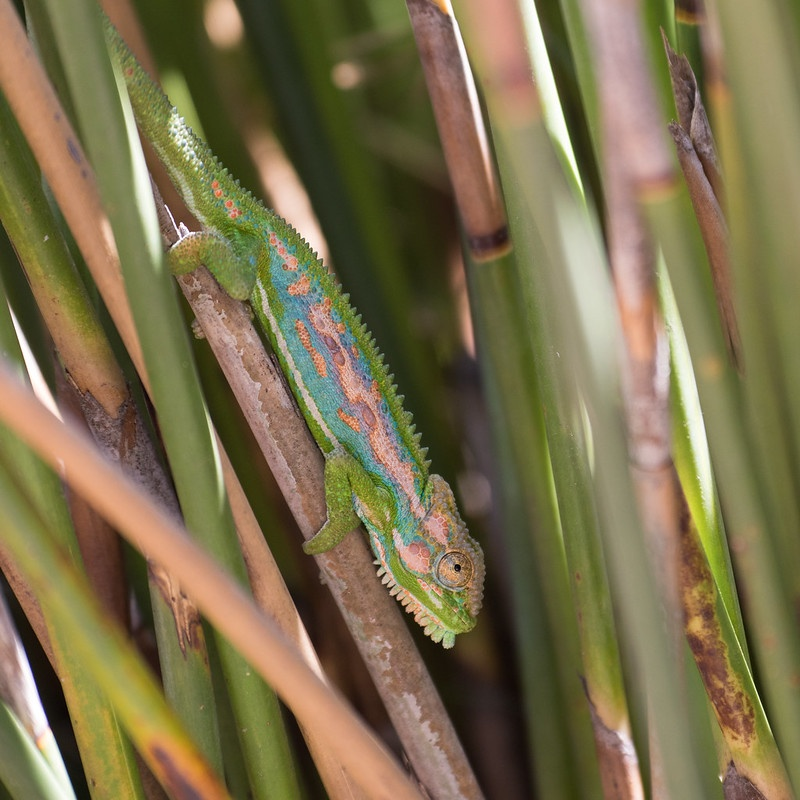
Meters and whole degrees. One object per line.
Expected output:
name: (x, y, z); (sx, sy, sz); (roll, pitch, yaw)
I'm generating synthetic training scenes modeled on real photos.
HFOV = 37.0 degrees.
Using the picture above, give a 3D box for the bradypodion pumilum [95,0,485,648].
bradypodion pumilum: (-0.083, 0.015, 1.720); (0.256, 1.424, 0.277); (-11, 13, 14)
